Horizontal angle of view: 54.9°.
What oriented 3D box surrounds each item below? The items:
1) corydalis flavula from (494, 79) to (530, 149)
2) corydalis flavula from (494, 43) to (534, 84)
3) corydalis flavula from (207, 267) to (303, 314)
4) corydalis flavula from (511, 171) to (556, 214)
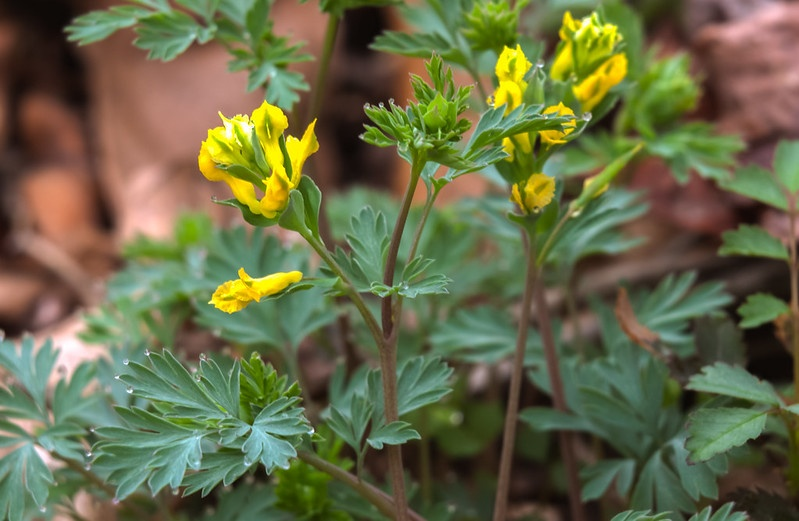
[{"bbox_3d":[0.266,-0.360,1.894,0.039,0.097,0.156,1,80,-28],"label":"corydalis flavula"},{"bbox_3d":[0.294,-0.484,1.894,0.093,0.039,0.103,22,15,-23],"label":"corydalis flavula"},{"bbox_3d":[-0.353,0.069,1.880,0.191,0.092,0.108,-15,79,0],"label":"corydalis flavula"},{"bbox_3d":[0.330,-0.161,1.951,0.098,0.067,0.101,28,50,29],"label":"corydalis flavula"}]
